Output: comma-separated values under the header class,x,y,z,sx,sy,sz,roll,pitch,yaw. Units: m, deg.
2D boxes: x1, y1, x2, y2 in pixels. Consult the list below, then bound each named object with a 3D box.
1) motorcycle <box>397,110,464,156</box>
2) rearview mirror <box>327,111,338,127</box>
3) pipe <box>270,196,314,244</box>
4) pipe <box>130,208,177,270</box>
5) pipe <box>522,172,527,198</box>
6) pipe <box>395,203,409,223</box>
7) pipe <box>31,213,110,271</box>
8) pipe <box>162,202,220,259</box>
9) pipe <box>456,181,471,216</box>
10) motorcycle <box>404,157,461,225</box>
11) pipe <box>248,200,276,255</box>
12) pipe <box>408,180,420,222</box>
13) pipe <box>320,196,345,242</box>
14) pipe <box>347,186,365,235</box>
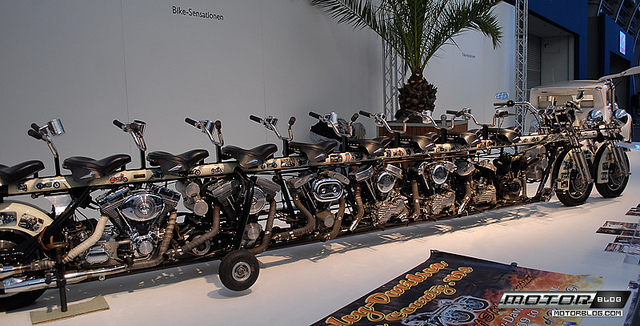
class,x,y,z,sx,sy,sz,roll,pitch,yaw
motorcycle,2.119,-0.494,6.442,0.720,0.590,0.895,-16,-1,2
rearview mirror,0.188,-0.614,5.563,0.129,0.199,0.218,-7,6,11
pipe,-0.325,0.884,5.402,0.695,0.532,0.172,-12,-27,-19
pipe,-2.024,0.959,4.818,0.445,0.661,0.142,10,-16,10
pipe,3.511,0.374,6.664,0.045,0.441,0.161,-4,9,36
pipe,1.269,0.769,5.868,0.248,0.251,0.079,-12,8,-31
pipe,-3.016,0.955,4.700,0.956,0.533,0.146,-9,7,-15
pipe,-1.590,0.988,5.081,0.760,0.443,0.121,-27,-16,-18
pipe,2.325,0.554,6.183,0.168,0.600,0.160,13,-32,20
motorcycle,1.725,0.420,6.042,1.170,1.035,0.539,-4,4,-21
pipe,-0.685,0.872,5.220,0.122,0.649,0.405,19,-13,-29
pipe,1.441,0.580,5.927,0.260,0.620,0.105,-15,9,-42
pipe,0.182,0.786,5.508,0.445,0.594,0.148,-11,7,-26
pipe,0.522,0.670,5.631,0.164,0.645,0.307,-3,9,40
